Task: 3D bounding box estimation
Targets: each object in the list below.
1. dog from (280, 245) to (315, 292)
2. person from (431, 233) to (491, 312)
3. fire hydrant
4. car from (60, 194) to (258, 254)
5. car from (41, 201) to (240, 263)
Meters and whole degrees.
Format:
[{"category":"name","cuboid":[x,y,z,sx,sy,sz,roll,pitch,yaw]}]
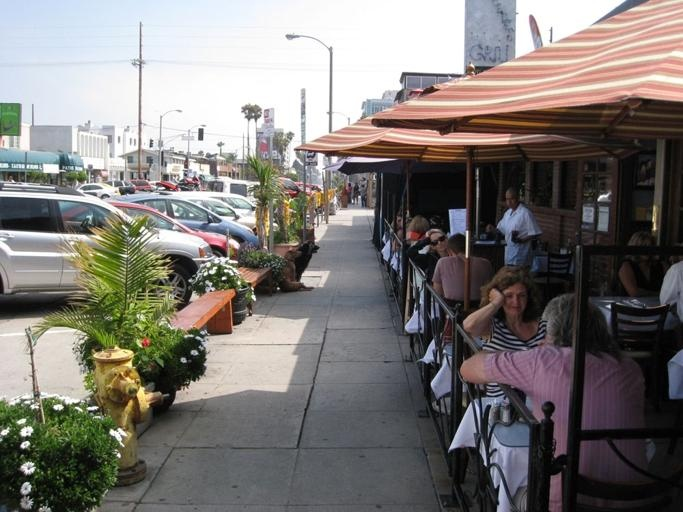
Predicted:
[{"category":"dog","cuboid":[-0.947,0.228,12.857,0.454,0.944,1.021,5,9,33]},{"category":"person","cuboid":[1.196,0.185,6.458,0.585,0.886,0.496,5,49,12]},{"category":"fire hydrant","cuboid":[-1.768,1.278,5.009,0.385,1.023,0.421,-2,7,-16]},{"category":"car","cuboid":[-3.541,-0.360,12.636,3.244,1.422,1.571,-2,9,-7]},{"category":"car","cuboid":[-3.655,-0.549,12.411,3.037,1.260,1.440,0,8,-11]}]
